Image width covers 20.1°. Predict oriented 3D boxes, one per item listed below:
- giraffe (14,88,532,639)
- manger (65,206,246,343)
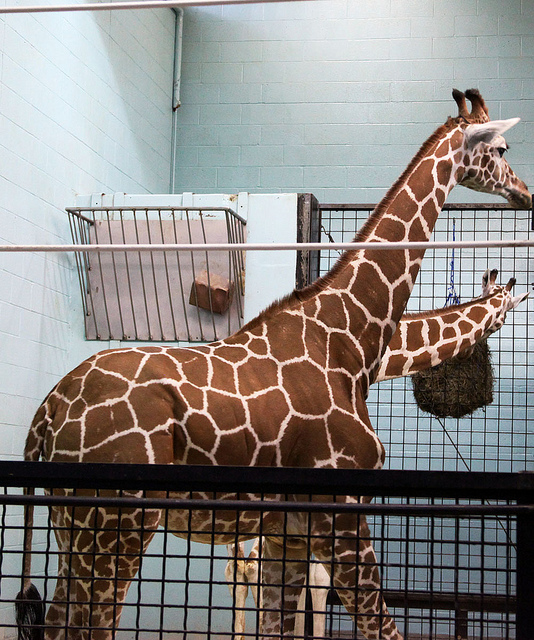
[{"bbox_3d":[0.052,0.280,5.544,2.107,1.804,0.924,-13,17,-38],"label":"giraffe"},{"bbox_3d":[-0.519,-0.187,7.386,1.042,0.897,0.596,0,-3,10],"label":"manger"}]
